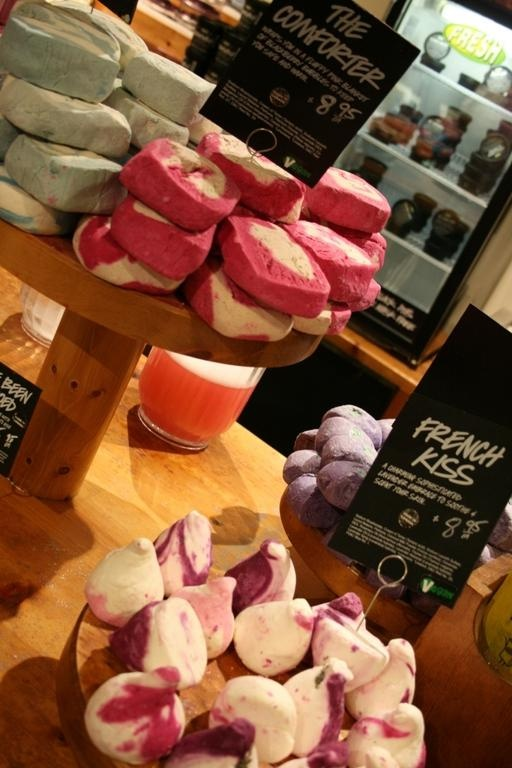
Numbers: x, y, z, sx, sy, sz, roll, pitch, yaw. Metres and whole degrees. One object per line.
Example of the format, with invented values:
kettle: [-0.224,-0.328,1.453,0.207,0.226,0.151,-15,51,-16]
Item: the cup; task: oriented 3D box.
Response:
cup: [-0.117,0.027,1.204,0.201,0.218,0.202,26,13,-6]
